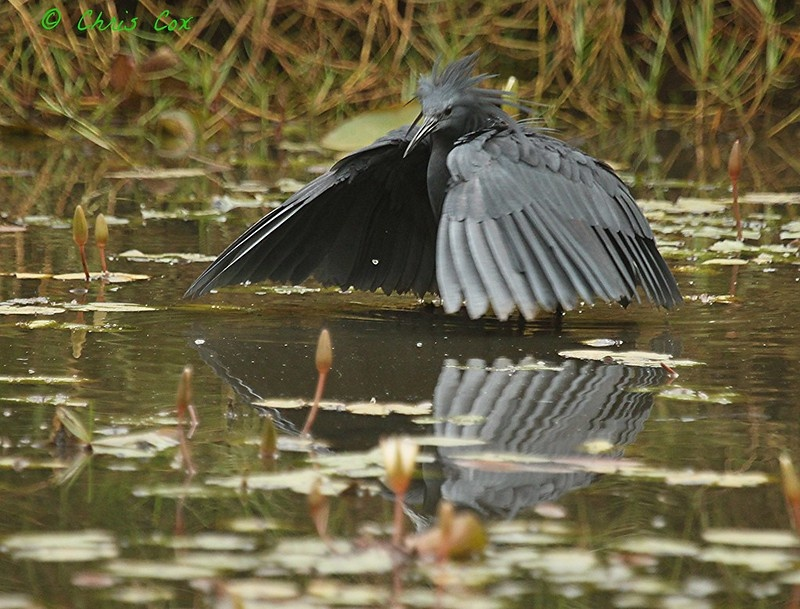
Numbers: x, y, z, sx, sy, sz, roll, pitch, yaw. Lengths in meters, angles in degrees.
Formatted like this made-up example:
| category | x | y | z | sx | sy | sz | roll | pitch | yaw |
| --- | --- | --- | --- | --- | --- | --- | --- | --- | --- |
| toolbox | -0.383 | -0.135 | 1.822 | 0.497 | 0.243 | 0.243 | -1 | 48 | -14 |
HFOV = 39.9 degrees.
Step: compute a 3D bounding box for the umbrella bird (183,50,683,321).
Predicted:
| category | x | y | z | sx | sy | sz | roll | pitch | yaw |
| --- | --- | --- | --- | --- | --- | --- | --- | --- | --- |
| umbrella bird | 0.189 | -0.452 | 4.047 | 1.379 | 0.995 | 1.085 | 2 | 4 | 44 |
